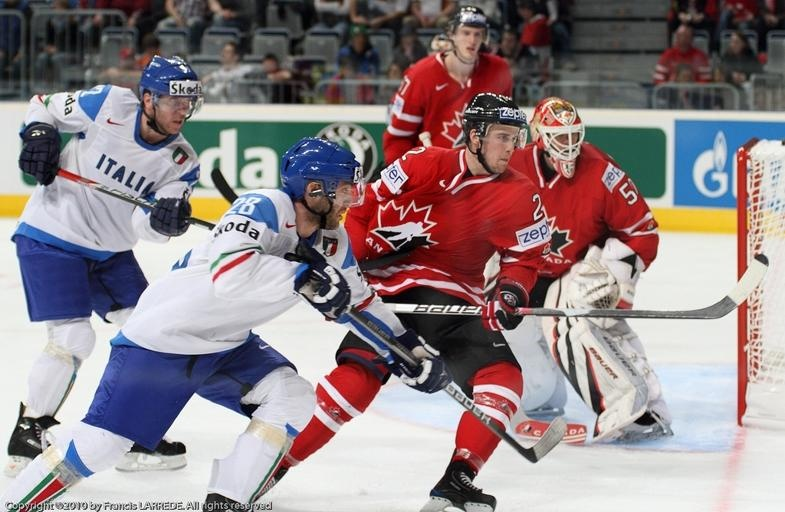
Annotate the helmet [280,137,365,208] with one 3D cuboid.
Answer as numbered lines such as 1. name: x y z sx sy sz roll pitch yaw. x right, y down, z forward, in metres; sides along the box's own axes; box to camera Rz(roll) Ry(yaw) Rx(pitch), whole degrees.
1. helmet: -0.324 -0.357 5.154 0.356 0.262 0.266 4 4 -5

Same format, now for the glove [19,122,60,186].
1. glove: -1.843 -0.501 5.842 0.235 0.114 0.320 -7 48 -6

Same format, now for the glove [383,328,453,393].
1. glove: 0.132 0.507 5.385 0.330 0.243 0.147 45 24 17

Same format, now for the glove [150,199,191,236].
1. glove: -1.100 -0.164 5.656 0.201 0.197 0.157 9 0 29

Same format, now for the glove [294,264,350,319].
1. glove: -0.311 0.162 4.999 0.245 0.179 0.107 38 30 13

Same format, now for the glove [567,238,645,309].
1. glove: 1.180 0.140 6.210 0.183 0.420 0.329 32 24 -40

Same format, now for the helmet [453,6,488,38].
1. helmet: 0.493 -1.460 7.256 0.224 0.185 0.262 3 6 6

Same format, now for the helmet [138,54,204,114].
1. helmet: -1.133 -0.860 5.915 0.336 0.310 0.252 1 0 5
